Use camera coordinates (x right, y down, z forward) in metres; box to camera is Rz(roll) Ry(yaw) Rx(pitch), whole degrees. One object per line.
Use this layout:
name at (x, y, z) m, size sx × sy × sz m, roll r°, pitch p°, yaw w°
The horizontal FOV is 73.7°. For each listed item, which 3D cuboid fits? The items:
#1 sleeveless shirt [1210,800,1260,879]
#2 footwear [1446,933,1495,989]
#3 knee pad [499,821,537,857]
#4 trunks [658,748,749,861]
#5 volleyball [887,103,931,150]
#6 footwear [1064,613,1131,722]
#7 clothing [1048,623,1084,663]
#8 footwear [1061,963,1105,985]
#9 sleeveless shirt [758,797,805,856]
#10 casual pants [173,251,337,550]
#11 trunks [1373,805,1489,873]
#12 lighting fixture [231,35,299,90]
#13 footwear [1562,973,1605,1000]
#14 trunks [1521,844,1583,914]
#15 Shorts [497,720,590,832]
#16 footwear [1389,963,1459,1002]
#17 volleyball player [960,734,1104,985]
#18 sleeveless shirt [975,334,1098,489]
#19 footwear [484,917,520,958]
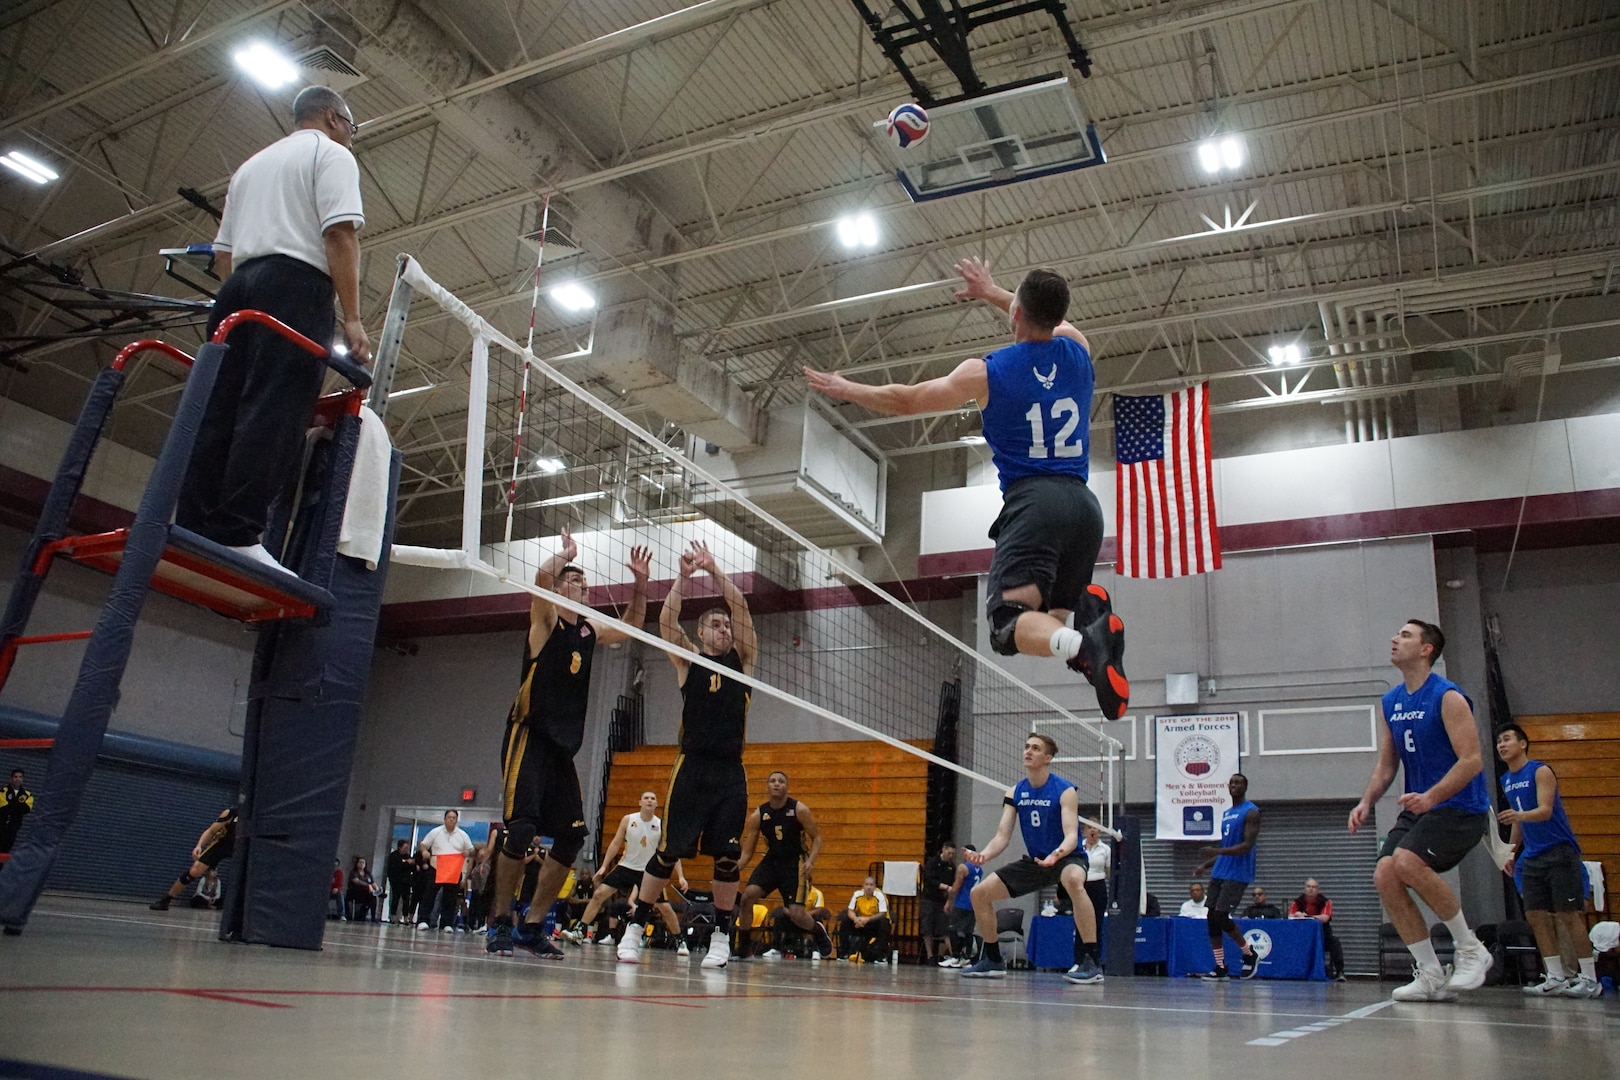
sleeveless shirt at (4.775, 3.369, 12.132) m, size 0.489 × 0.918 × 0.559 m, roll -2°, pitch -22°, yaw 12°
footwear at (4.178, 2.654, 6.848) m, size 0.238 × 0.378 × 0.380 m, roll -10°, pitch -25°, yaw 29°
knee pad at (-1.771, 1.826, 6.568) m, size 0.189 × 0.219 × 0.239 m, roll 10°, pitch -23°, yaw -17°
trunks at (-0.746, 1.928, 7.692) m, size 0.567 × 0.737 × 0.427 m, roll 5°, pitch -21°, yaw -7°
volleyball at (1.056, -4.352, 11.341) m, size 0.396 × 0.414 × 0.410 m, roll 25°, pitch -56°, yaw -17°
footwear at (1.517, 0.745, 5.604) m, size 0.276 × 0.245 × 0.692 m, roll -6°, pitch -60°, yaw 24°
clothing at (1.276, 0.511, 5.348) m, size 0.142 × 0.158 × 0.153 m, roll -2°, pitch -22°, yaw 8°
footwear at (2.270, 3.578, 8.909) m, size 0.233 × 0.162 × 0.493 m, roll -5°, pitch -24°, yaw 19°
sleeveless shirt at (-0.292, 2.881, 10.810) m, size 0.446 × 0.584 × 0.423 m, roll 2°, pitch -21°, yaw 1°
casual pants at (-2.645, -0.665, 5.128) m, size 0.524 × 1.293 × 0.575 m, roll 17°, pitch -25°, yaw -32°
trunks at (3.952, 1.891, 6.808) m, size 0.673 × 0.408 × 0.481 m, roll -4°, pitch -23°, yaw 17°
lighting fixture at (-6.449, -5.724, 12.828) m, size 0.764 × 0.210 × 0.743 m, roll 29°, pitch -5°, yaw 36°
footwear at (6.257, 3.612, 8.732) m, size 0.227 × 0.141 × 0.335 m, roll -12°, pitch -27°, yaw 31°
trunks at (6.135, 2.754, 8.871) m, size 0.352 × 0.561 × 0.553 m, roll 6°, pitch -15°, yaw -12°
Shorts at (-1.657, 1.512, 6.752) m, size 0.314 × 0.594 × 0.549 m, roll -6°, pitch -23°, yaw 22°
footwear at (3.858, 2.757, 6.771) m, size 0.476 × 0.259 × 0.226 m, roll 2°, pitch -19°, yaw -2°
volleyball player at (1.837, 2.573, 8.805) m, size 1.078 × 1.949 × 1.050 m, roll -10°, pitch -27°, yaw 34°
sleeveless shirt at (1.258, -0.686, 5.903) m, size 0.579 × 0.862 × 0.444 m, roll -8°, pitch 13°, yaw -5°
footwear at (-1.893, 2.439, 6.639) m, size 0.137 × 0.211 × 0.186 m, roll 11°, pitch -23°, yaw -21°
